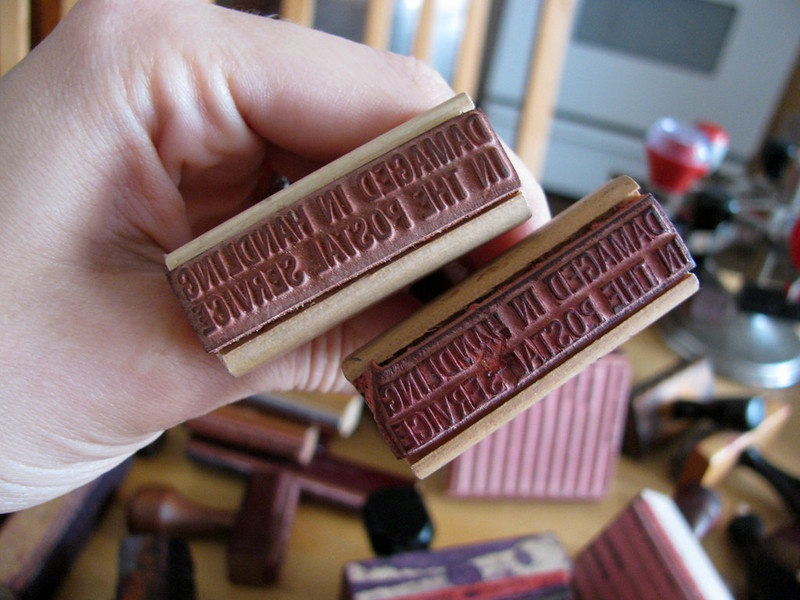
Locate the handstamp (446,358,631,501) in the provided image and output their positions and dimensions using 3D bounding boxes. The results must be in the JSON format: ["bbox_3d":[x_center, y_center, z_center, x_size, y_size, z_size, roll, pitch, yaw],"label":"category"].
[{"bbox_3d":[0.262,0.240,1.319,0.252,0.067,0.255,3,78,-3],"label":"handstamp"}]

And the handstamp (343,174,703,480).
[{"bbox_3d":[0.161,0.040,1.148,0.671,0.314,0.178,-33,93,0],"label":"handstamp"}]

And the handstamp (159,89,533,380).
[{"bbox_3d":[-0.092,-0.072,1.083,0.491,0.209,0.166,-31,87,-21],"label":"handstamp"}]
